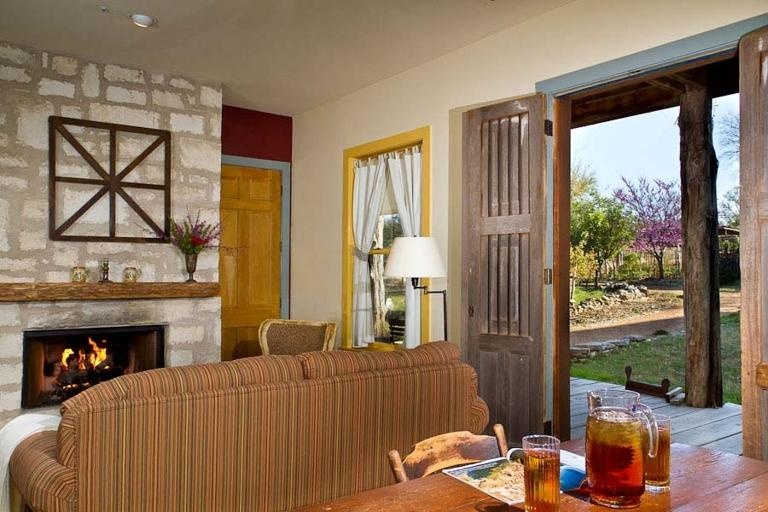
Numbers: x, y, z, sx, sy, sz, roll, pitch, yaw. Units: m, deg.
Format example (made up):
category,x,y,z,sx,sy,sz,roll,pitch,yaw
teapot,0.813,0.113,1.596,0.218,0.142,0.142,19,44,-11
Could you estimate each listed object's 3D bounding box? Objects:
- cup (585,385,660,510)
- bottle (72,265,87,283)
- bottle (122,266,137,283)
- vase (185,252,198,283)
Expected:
category,x,y,z,sx,sy,sz,roll,pitch,yaw
cup,0.773,0.627,1.716,0.226,0.256,0.122,-4,-3,15
bottle,-2.990,0.175,5.191,0.152,0.153,0.132,-3,-6,37
bottle,-2.603,0.189,5.455,0.157,0.164,0.217,-1,-4,-27
vase,-2.086,0.121,5.739,0.126,0.324,0.258,-2,-3,-21
